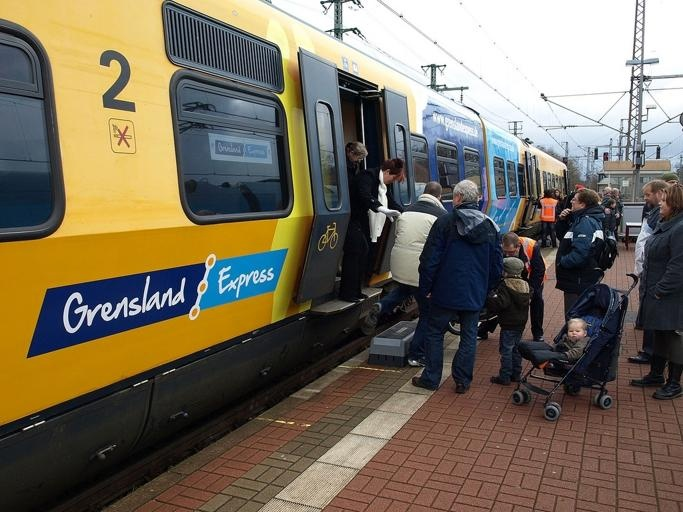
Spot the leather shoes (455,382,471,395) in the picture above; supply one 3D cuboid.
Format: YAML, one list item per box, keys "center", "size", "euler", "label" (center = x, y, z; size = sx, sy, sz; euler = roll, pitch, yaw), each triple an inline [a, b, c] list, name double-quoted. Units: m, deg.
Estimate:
- center: [1.371, 1.495, 5.214]
  size: [0.074, 0.076, 0.181]
  euler: [2, 11, 28]
  label: "leather shoes"

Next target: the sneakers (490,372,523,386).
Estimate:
- center: [1.942, 1.435, 5.468]
  size: [0.297, 0.129, 0.175]
  euler: [3, 3, 25]
  label: "sneakers"

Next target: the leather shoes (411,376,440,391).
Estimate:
- center: [0.965, 1.478, 5.302]
  size: [0.127, 0.136, 0.316]
  euler: [-4, 11, -35]
  label: "leather shoes"

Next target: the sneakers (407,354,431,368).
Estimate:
- center: [1.048, 1.386, 6.110]
  size: [0.355, 0.150, 0.129]
  euler: [-3, 4, -15]
  label: "sneakers"

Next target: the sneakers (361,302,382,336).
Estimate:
- center: [0.421, 0.838, 6.206]
  size: [0.204, 0.523, 0.228]
  euler: [27, 15, 22]
  label: "sneakers"

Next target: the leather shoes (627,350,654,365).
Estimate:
- center: [3.985, 1.349, 6.122]
  size: [0.344, 0.148, 0.120]
  euler: [2, 1, 23]
  label: "leather shoes"
